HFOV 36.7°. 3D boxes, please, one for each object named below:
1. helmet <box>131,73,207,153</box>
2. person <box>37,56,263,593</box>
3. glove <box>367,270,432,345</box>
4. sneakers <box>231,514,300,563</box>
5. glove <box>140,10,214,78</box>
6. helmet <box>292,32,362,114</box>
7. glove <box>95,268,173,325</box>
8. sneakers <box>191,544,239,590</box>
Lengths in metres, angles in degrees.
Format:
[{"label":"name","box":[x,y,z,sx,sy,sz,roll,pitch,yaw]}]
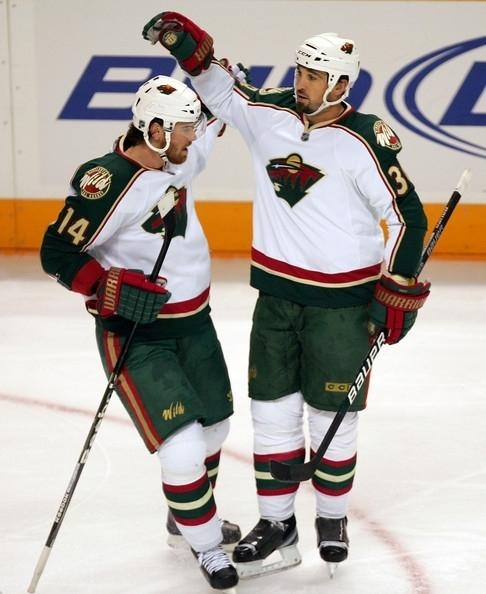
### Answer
[{"label":"helmet","box":[-0.162,-0.489,1.976,0.273,0.214,0.178,4,22,2]},{"label":"person","box":[-0.191,0.117,1.988,0.475,1.343,0.713,-17,33,-27]},{"label":"glove","box":[0.437,0.043,2.072,0.158,0.211,0.091,4,30,8]},{"label":"sneakers","box":[0.072,0.729,2.243,0.244,0.078,0.092,-10,5,-36]},{"label":"glove","box":[-0.172,-0.730,2.119,0.178,0.202,0.086,-41,11,5]},{"label":"helmet","box":[0.240,-0.610,2.003,0.163,0.209,0.125,-10,30,-18]},{"label":"glove","box":[-0.292,-0.001,1.895,0.212,0.118,0.076,8,-2,-10]},{"label":"sneakers","box":[-0.081,0.727,2.016,0.062,0.065,0.181,-28,12,-7]}]
